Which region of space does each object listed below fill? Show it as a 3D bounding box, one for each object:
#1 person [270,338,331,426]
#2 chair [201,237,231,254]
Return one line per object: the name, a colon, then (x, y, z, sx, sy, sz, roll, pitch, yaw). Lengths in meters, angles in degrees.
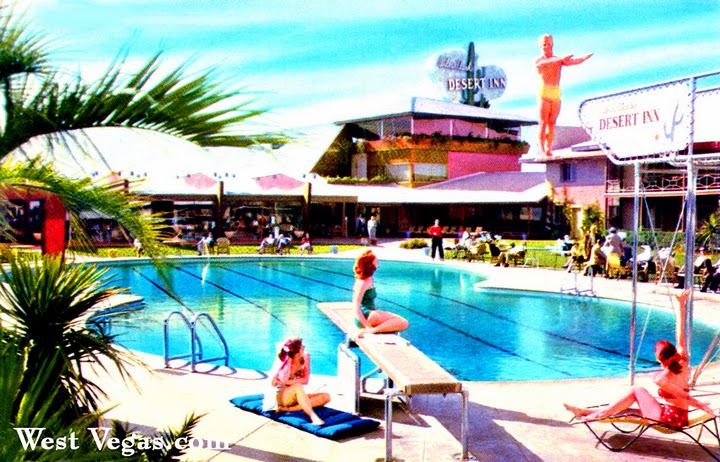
person: (-0.783, 1.833, 8.337, 0.814, 0.992, 0.737, 2, 4, 10)
chair: (-6.348, 0.656, 28.882, 0.676, 0.898, 0.697, 0, -7, 0)
